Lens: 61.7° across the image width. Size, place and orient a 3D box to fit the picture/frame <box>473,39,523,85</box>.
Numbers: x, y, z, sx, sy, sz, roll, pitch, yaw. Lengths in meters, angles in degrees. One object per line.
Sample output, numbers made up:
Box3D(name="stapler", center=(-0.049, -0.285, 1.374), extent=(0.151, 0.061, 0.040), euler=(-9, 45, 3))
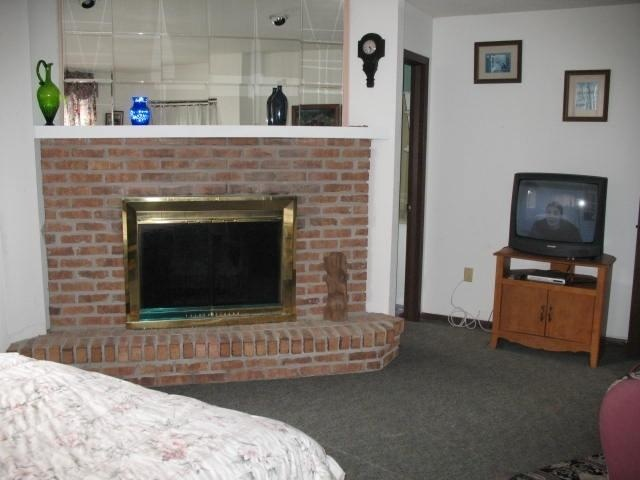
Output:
Box3D(name="picture/frame", center=(1.502, -1.497, 4.473), extent=(0.400, 0.357, 0.041), euler=(1, 10, 19))

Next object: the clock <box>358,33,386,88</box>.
Box3D(name="clock", center=(0.377, -1.322, 3.935), extent=(0.192, 0.385, 0.046), euler=(1, 8, -1))

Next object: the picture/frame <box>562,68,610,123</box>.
Box3D(name="picture/frame", center=(2.138, -1.167, 4.271), extent=(0.436, 0.563, 0.040), euler=(1, 2, 14))

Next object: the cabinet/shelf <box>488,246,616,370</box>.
Box3D(name="cabinet/shelf", center=(1.773, 0.484, 4.159), extent=(0.770, 0.738, 0.419), euler=(7, 12, 31))
